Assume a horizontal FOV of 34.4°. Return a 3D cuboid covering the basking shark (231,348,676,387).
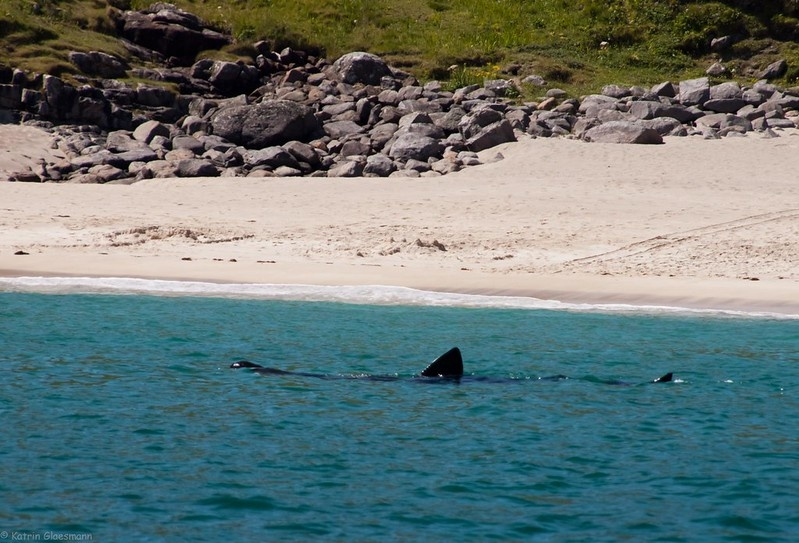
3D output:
[{"bbox_3d":[-0.356,2.266,31.815,6.784,0.833,0.469,1,13,2],"label":"basking shark"}]
